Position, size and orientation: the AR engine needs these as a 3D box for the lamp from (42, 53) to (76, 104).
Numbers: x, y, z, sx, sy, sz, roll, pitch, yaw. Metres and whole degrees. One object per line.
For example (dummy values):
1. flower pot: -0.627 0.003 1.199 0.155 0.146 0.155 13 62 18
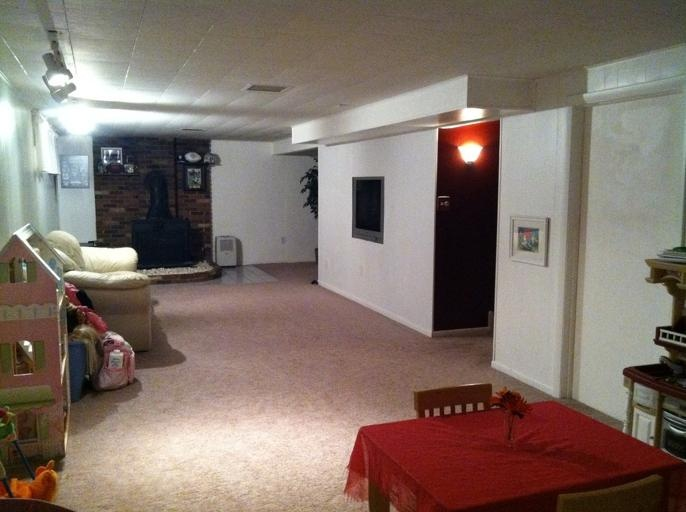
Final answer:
1. lamp: -2.059 -1.289 3.711 0.273 0.393 0.130 -9 15 -26

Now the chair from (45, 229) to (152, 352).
1. chair: -2.669 0.365 5.598 0.707 0.689 1.508 -1 11 -32

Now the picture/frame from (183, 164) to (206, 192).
1. picture/frame: -3.150 -1.671 10.780 0.553 0.672 0.065 -3 10 -24

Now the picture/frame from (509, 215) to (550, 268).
1. picture/frame: 1.722 -0.144 4.694 0.032 0.458 0.452 -2 6 -22

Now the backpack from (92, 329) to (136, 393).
1. backpack: -2.108 0.968 4.771 0.406 0.411 0.424 1 9 -24

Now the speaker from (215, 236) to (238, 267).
1. speaker: -2.501 -0.087 11.022 0.435 0.657 0.232 -5 7 -24

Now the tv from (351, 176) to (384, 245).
1. tv: 0.372 -0.684 7.472 0.073 1.091 1.001 -2 4 -30
